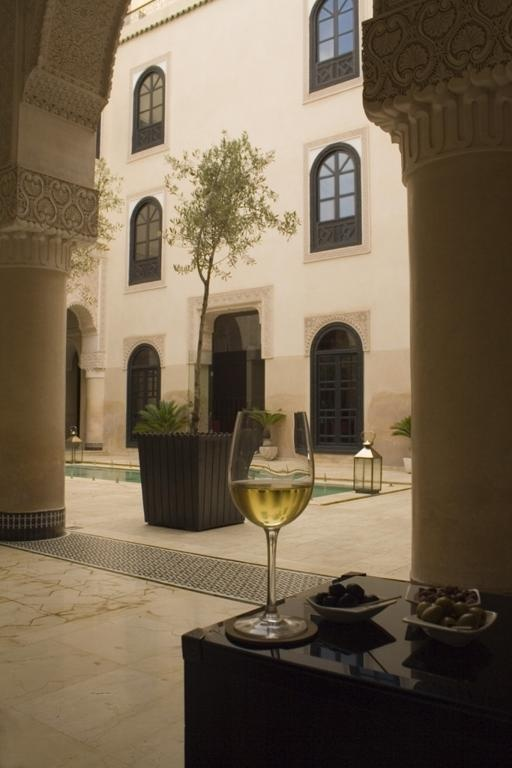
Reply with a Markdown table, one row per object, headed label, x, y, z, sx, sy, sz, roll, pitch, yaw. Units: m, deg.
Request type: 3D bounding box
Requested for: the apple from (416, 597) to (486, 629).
| label | x | y | z | sx | sy | sz | roll | pitch | yaw |
| --- | --- | --- | --- | --- | --- | --- | --- | --- | --- |
| apple | 0.229 | 0.255 | 0.708 | 0.043 | 0.019 | 0.046 | 0 | -1 | -7 |
